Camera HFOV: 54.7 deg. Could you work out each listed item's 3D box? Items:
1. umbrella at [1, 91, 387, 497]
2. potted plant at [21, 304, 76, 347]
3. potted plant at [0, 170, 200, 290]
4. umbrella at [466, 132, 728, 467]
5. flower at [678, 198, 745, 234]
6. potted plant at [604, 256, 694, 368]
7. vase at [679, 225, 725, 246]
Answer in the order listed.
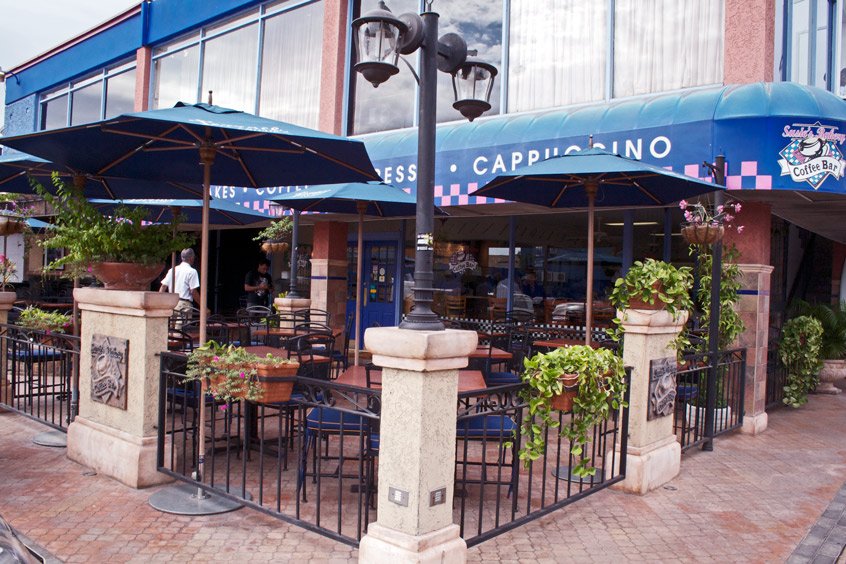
[{"bbox_3d":[-2.646,-0.716,9.935,3.903,2.850,1.777,0,2,-1],"label":"umbrella"},{"bbox_3d":[-5.870,0.702,12.865,0.705,0.326,0.685,19,-3,-38],"label":"potted plant"},{"bbox_3d":[-3.799,-0.392,10.198,1.592,1.132,1.206,-2,4,-14],"label":"potted plant"},{"bbox_3d":[2.270,-0.512,11.256,2.642,2.390,2.469,6,-3,-40],"label":"umbrella"},{"bbox_3d":[4.191,-0.959,11.761,0.848,0.348,0.755,3,-2,-14],"label":"flower"},{"bbox_3d":[2.918,0.345,10.312,1.160,1.275,0.517,-1,2,-25],"label":"potted plant"},{"bbox_3d":[3.908,-0.673,11.527,0.524,0.268,0.391,1,2,15],"label":"vase"}]
